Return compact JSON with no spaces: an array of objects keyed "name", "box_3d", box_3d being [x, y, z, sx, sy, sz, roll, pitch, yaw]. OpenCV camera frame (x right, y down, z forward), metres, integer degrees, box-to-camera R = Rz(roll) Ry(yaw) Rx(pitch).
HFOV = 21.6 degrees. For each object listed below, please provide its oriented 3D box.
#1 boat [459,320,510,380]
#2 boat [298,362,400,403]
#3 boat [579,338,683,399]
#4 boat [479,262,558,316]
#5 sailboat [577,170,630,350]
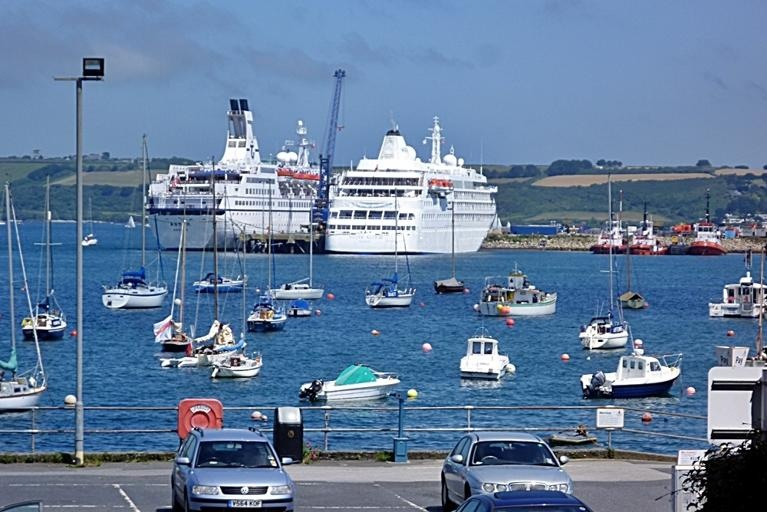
[{"name":"boat","box_3d":[10.852,10.719,220.199,4.146,4.352,4.152,2,5,23]},{"name":"boat","box_3d":[-3.782,13.226,213.246,9.330,3.101,4.286,-2,5,-7]},{"name":"boat","box_3d":[26.354,12.211,215.439,11.378,4.717,4.905,-4,8,-13]},{"name":"boat","box_3d":[16.741,5.027,253.113,5.630,4.840,9.299,-1,-1,40]},{"name":"sailboat","box_3d":[38.304,-0.939,358.219,10.709,36.969,10.481,-1,-9,-5]}]
